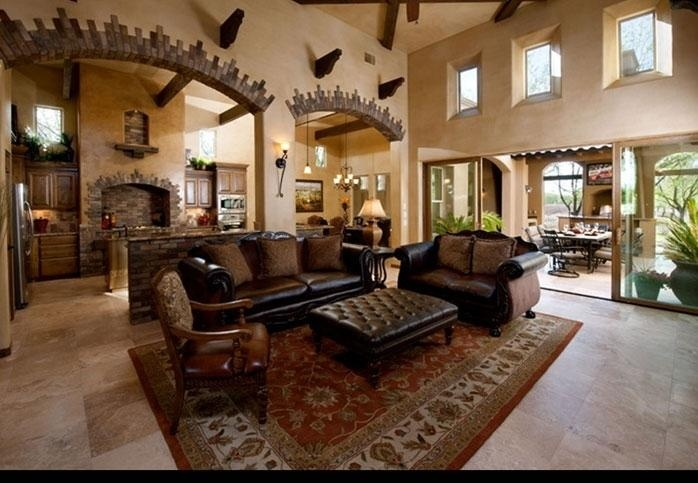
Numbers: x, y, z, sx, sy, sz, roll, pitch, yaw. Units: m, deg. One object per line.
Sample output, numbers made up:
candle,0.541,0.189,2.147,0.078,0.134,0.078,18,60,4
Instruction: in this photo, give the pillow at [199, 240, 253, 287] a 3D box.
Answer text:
pillow,-1.568,0.221,6.223,0.584,0.569,0.161,-22,-18,19

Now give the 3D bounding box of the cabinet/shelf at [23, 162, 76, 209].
cabinet/shelf,-6.093,-1.170,9.118,0.828,0.945,0.429,-2,29,-35

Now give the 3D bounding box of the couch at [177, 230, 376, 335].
couch,-0.930,0.520,6.549,2.665,1.308,1.159,-8,9,-41

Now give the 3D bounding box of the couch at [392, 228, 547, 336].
couch,1.763,0.503,6.654,1.115,1.276,2.006,-8,12,-43

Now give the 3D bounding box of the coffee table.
coffee table,0.293,0.942,5.309,1.350,0.501,1.014,-7,8,-42

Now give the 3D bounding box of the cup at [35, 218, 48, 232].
cup,-6.218,-0.330,8.973,0.243,0.291,0.288,0,0,23

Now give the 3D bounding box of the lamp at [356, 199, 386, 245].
lamp,0.407,-0.344,7.667,0.527,0.856,0.494,-3,-1,24

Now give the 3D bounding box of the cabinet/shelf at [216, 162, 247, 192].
cabinet/shelf,-3.008,-1.658,11.232,0.327,0.741,0.797,3,4,40

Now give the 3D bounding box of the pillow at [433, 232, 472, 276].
pillow,1.603,0.203,6.819,0.579,0.589,0.221,5,-16,45

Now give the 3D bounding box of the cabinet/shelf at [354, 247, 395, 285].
cabinet/shelf,0.477,0.353,7.241,0.701,0.715,0.697,0,-1,-7

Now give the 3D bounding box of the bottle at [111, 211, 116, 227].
bottle,-5.051,-0.484,9.529,0.106,0.332,0.279,-5,6,-27

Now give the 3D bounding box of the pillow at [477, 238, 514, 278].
pillow,2.110,0.252,6.597,0.211,0.587,0.585,31,-19,-36

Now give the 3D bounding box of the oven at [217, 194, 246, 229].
oven,-3.110,-0.724,11.439,0.770,1.058,0.504,-2,8,-37

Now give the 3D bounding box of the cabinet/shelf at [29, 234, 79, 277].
cabinet/shelf,-5.961,0.457,9.137,0.871,1.051,0.808,-8,-25,-23

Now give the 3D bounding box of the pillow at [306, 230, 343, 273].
pillow,-0.404,0.164,6.915,0.656,0.663,0.247,-2,20,-3

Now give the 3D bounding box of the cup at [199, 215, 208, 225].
cup,-3.682,-0.546,11.110,0.210,0.247,0.260,-1,6,12

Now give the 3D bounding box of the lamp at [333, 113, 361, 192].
lamp,-0.044,-2.526,13.740,0.780,1.881,2.267,-2,6,0

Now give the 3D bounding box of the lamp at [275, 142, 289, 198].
lamp,-1.119,-1.166,7.451,0.209,0.825,0.129,-3,5,-8

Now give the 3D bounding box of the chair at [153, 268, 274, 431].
chair,-1.485,1.010,5.283,1.508,1.952,1.446,0,7,-11

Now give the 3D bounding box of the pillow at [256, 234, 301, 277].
pillow,-1.025,0.243,6.642,0.668,0.647,0.225,-4,6,-25

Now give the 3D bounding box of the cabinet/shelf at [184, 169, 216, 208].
cabinet/shelf,-3.803,-1.274,10.917,0.310,0.863,0.880,6,8,34
